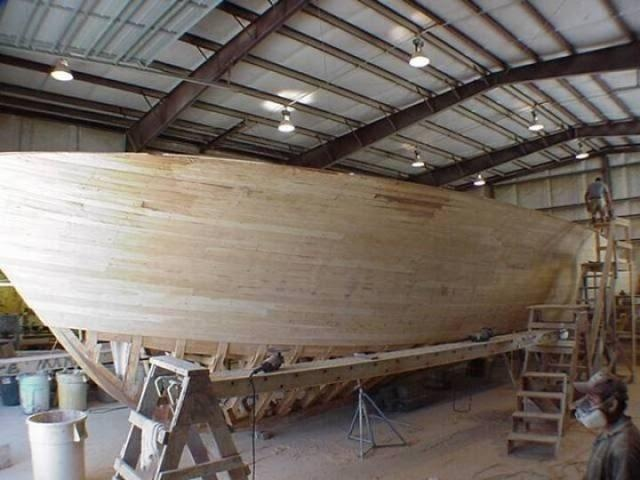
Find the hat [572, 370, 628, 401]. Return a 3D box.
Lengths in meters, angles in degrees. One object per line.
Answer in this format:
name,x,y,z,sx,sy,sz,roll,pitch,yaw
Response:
hat,1.473,0.755,2.458,0.314,0.131,0.175,9,-14,21
